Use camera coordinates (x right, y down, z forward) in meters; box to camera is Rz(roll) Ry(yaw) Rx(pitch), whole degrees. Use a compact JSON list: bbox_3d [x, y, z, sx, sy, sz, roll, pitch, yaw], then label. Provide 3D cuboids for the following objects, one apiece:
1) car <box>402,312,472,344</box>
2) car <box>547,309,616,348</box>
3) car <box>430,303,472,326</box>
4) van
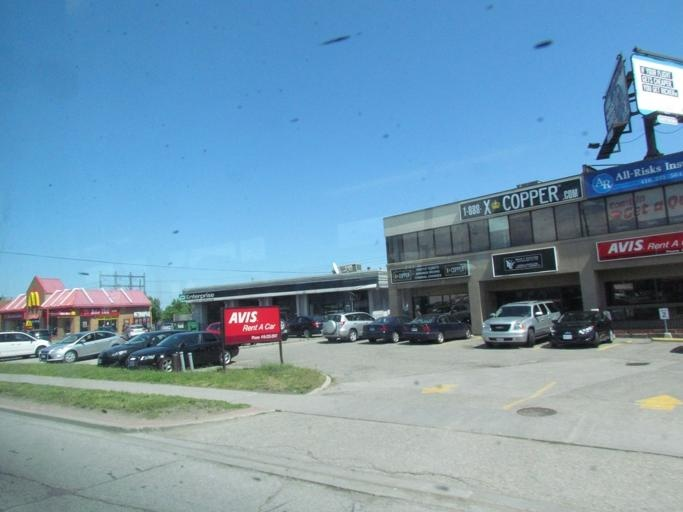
[{"bbox_3d":[4.789,3.594,28.151,3.371,1.452,1.071,3,-10,-42],"label":"car"},{"bbox_3d":[10.110,2.971,23.405,1.311,0.909,2.888,-11,-14,38],"label":"car"},{"bbox_3d":[6.414,3.360,33.245,2.212,0.958,1.196,2,-6,-13],"label":"car"},{"bbox_3d":[8.014,2.943,25.106,1.818,1.322,3.382,-9,-11,35],"label":"van"}]
